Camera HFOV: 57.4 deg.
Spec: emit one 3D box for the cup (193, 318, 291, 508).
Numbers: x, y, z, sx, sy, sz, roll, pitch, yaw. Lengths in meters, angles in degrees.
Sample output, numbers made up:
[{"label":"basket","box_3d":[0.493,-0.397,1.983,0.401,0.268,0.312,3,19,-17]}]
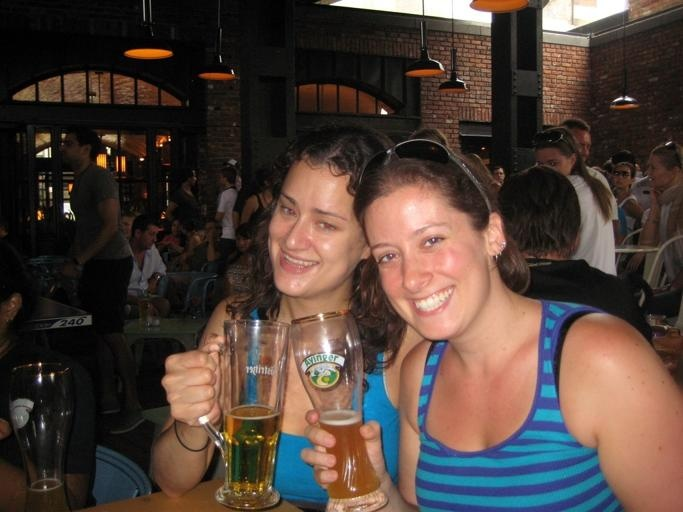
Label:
[{"label":"cup","box_3d":[-0.247,0.401,1.579,0.229,0.484,0.109,-1,2,-8]}]
